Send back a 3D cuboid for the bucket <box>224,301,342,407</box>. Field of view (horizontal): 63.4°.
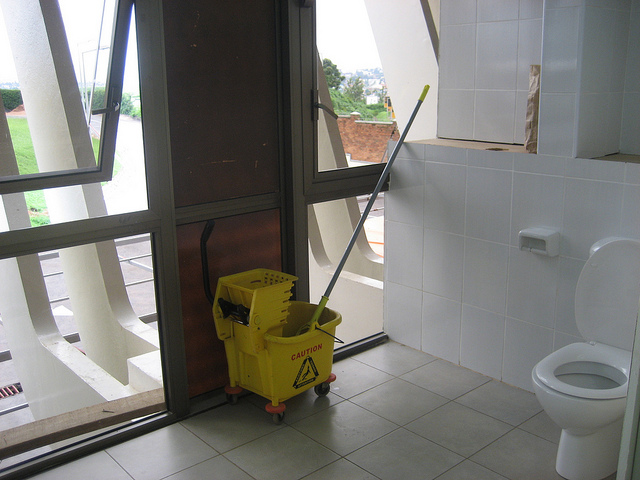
[{"bbox_3d":[-0.180,0.664,2.915,0.505,0.422,0.567,13,19,43],"label":"bucket"}]

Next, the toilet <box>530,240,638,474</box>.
[{"bbox_3d":[1.267,0.534,2.430,0.360,0.989,0.661,11,22,34],"label":"toilet"}]
